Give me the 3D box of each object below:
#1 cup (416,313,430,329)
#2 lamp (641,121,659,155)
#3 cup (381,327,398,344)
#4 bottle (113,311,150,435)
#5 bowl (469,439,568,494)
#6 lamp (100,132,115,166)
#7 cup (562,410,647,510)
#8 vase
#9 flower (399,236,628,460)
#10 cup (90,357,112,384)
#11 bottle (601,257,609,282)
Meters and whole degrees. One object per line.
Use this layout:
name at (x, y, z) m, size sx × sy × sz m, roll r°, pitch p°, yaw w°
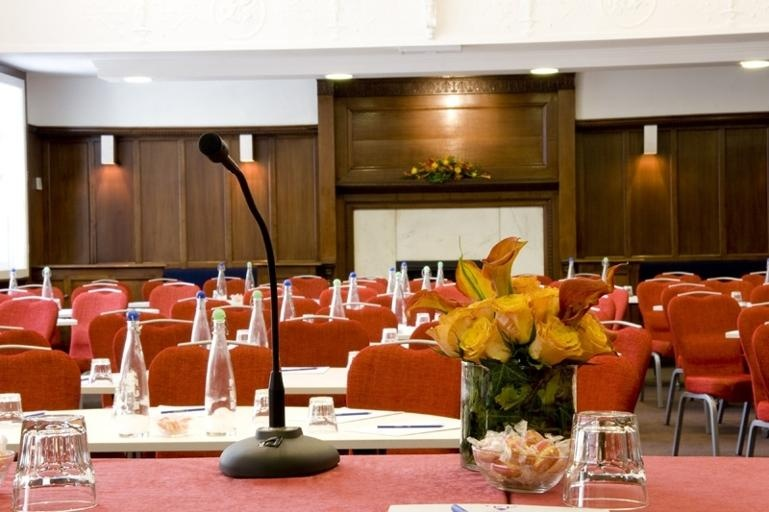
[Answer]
cup at (0.298, 0.493, 6.494) m, size 0.103 × 0.114 × 0.105 m, roll 2°, pitch 1°, yaw 0°
lamp at (3.600, -1.566, 11.709) m, size 0.191 × 0.405 × 0.389 m, roll -1°, pitch 1°, yaw 18°
cup at (0.027, 0.517, 5.545) m, size 0.090 × 0.103 × 0.092 m, roll 10°, pitch -18°, yaw 3°
bottle at (-1.112, 0.550, 3.848) m, size 0.120 × 0.373 × 0.159 m, roll -2°, pitch 1°, yaw -41°
bowl at (0.506, 0.788, 3.173) m, size 0.216 × 0.108 × 0.230 m, roll -1°, pitch -8°, yaw 0°
lamp at (-3.853, -1.467, 12.099) m, size 0.204 × 0.290 × 0.325 m, roll -2°, pitch 0°, yaw -19°
cup at (0.793, 0.746, 3.225) m, size 0.282 × 0.357 × 0.301 m, roll 1°, pitch -4°, yaw 0°
vase at (0.496, 0.604, 3.247) m, size 0.311 × 0.373 × 0.309 m, roll -3°, pitch -6°, yaw 43°
flower at (0.543, 0.343, 3.488) m, size 0.686 × 0.772 × 0.745 m, roll -1°, pitch 0°, yaw 0°
cup at (-1.586, 0.649, 4.877) m, size 0.125 × 0.135 × 0.128 m, roll -1°, pitch -3°, yaw 0°
bottle at (2.202, 0.131, 8.664) m, size 0.080 × 0.068 × 0.281 m, roll -2°, pitch -36°, yaw 17°
